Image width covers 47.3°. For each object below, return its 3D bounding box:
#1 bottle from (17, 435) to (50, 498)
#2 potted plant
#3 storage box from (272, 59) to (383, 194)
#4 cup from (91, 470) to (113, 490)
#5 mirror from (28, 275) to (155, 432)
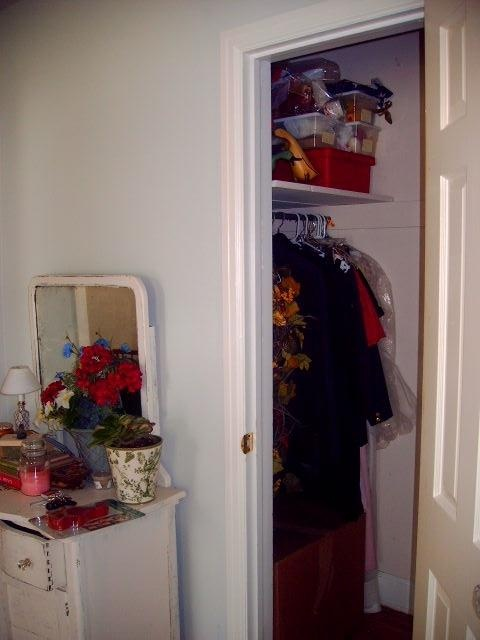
[{"bbox_3d":[-0.590,0.416,1.579,0.082,0.161,0.087,2,8,0],"label":"bottle"},{"bbox_3d":[-0.282,0.376,1.556,0.222,0.243,0.184,0,0,25],"label":"potted plant"},{"bbox_3d":[0.316,-0.711,2.004,0.198,0.500,0.583,2,6,43],"label":"storage box"},{"bbox_3d":[-0.408,0.471,1.625,0.045,0.032,0.047,-2,4,0],"label":"cup"},{"bbox_3d":[-0.460,0.019,1.698,0.376,0.042,0.465,-4,43,-22],"label":"mirror"}]
